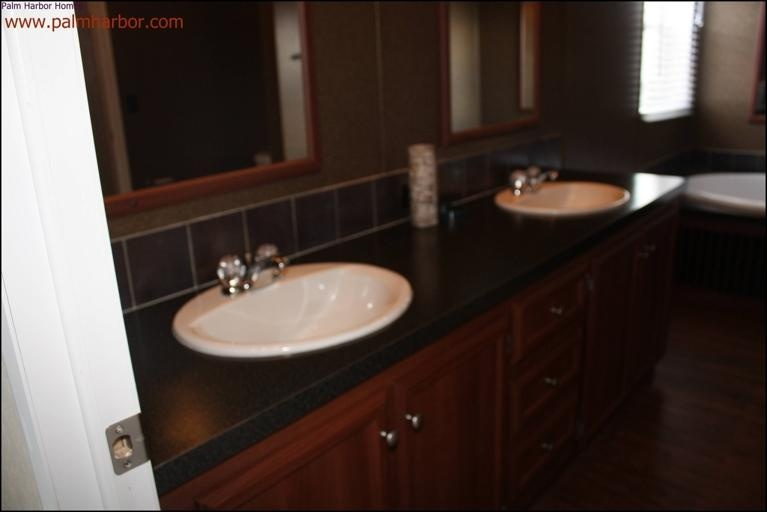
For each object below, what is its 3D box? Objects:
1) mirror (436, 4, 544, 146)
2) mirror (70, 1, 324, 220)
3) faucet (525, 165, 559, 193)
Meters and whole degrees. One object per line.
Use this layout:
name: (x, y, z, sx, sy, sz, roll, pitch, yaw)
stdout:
mirror: (0.327, -0.595, 1.722, 0.402, 0.449, 0.020, -17, 24, -29)
mirror: (-0.368, -0.293, 1.053, 0.518, 0.497, 0.039, -19, 29, -33)
faucet: (0.522, -0.263, 1.807, 0.130, 0.077, 0.095, 10, 21, 33)
